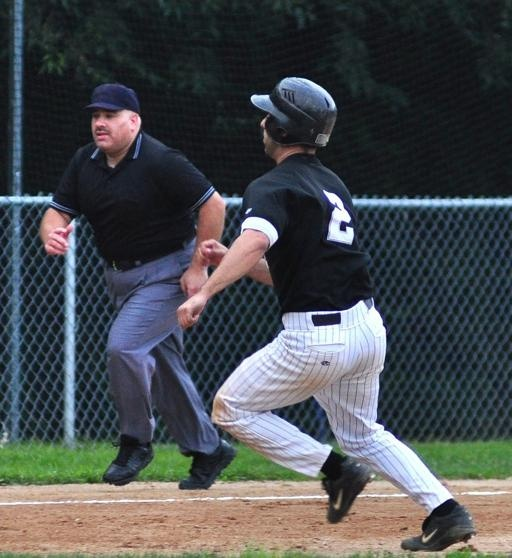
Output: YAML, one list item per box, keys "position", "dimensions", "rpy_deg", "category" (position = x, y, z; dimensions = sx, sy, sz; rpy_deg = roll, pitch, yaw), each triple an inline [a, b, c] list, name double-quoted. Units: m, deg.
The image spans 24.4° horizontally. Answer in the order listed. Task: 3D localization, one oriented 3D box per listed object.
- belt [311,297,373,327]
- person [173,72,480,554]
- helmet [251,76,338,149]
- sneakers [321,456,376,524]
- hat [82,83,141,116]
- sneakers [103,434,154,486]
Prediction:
- position: [0.363, 0.163, 5.273]
  dimensions: [0.187, 0.070, 0.140]
  rpy_deg: [-3, 5, 18]
  category: "belt"
- position: [0.275, 0.135, 5.412]
  dimensions: [1.260, 1.508, 0.520]
  rpy_deg: [4, 2, -4]
  category: "person"
- position: [0.180, -0.812, 5.528]
  dimensions: [0.379, 0.269, 0.281]
  rpy_deg: [22, 32, 3]
  category: "helmet"
- position: [0.429, 0.993, 5.668]
  dimensions: [0.178, 0.420, 0.140]
  rpy_deg: [20, 41, 2]
  category: "sneakers"
- position: [-0.771, -0.987, 6.464]
  dimensions: [0.164, 0.119, 0.229]
  rpy_deg: [1, -8, 36]
  category: "hat"
- position: [-0.679, 0.964, 6.522]
  dimensions: [0.143, 0.208, 0.397]
  rpy_deg: [11, 34, 28]
  category: "sneakers"
